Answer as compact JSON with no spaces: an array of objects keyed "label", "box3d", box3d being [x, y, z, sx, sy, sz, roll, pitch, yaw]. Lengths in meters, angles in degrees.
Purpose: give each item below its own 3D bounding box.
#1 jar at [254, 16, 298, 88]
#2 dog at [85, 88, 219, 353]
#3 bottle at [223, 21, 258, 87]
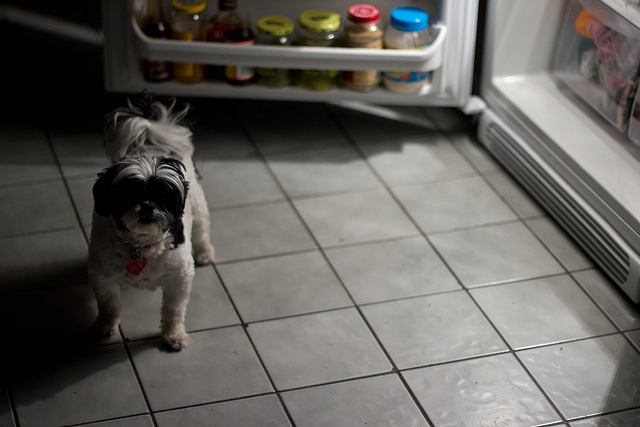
[{"label":"jar","box3d":[-0.229,-0.832,2.672,0.162,0.380,0.210,-24,41,-26]},{"label":"dog","box3d":[-0.684,0.033,2.122,0.422,0.843,1.096,5,26,-13]},{"label":"bottle","box3d":[-0.441,-0.790,2.631,0.181,0.286,0.177,4,27,-2]}]
